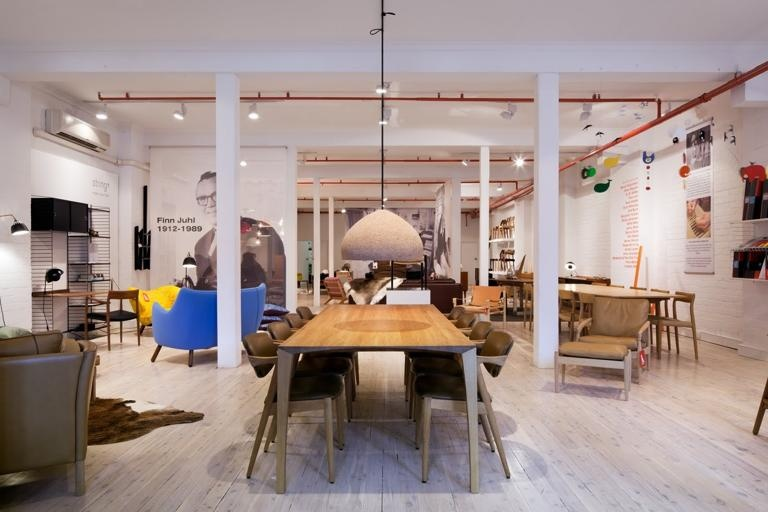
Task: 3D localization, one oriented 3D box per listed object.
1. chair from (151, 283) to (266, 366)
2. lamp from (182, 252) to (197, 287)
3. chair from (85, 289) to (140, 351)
[{"bbox_3d":[-2.888,1.047,8.065,1.421,1.122,1.682,-2,-3,34],"label":"chair"},{"bbox_3d":[-4.231,0.348,10.771,0.319,0.783,0.673,-7,16,-21],"label":"lamp"},{"bbox_3d":[-4.848,1.101,8.799,0.930,1.018,0.909,1,0,-21],"label":"chair"}]
